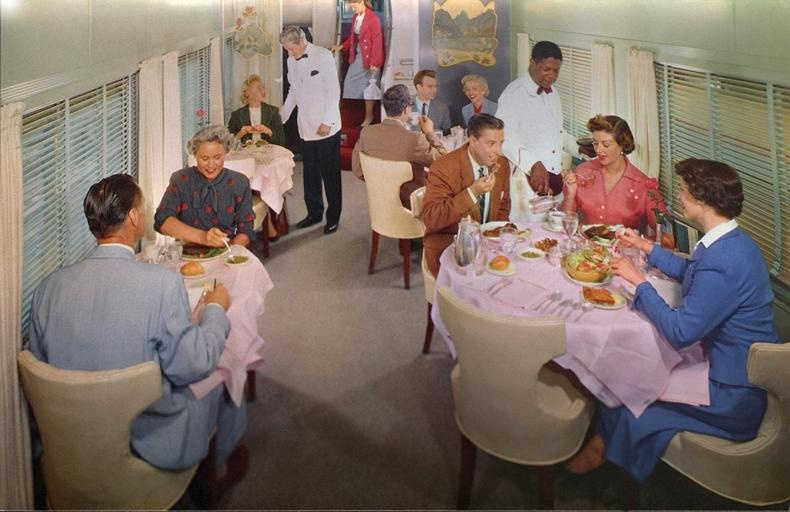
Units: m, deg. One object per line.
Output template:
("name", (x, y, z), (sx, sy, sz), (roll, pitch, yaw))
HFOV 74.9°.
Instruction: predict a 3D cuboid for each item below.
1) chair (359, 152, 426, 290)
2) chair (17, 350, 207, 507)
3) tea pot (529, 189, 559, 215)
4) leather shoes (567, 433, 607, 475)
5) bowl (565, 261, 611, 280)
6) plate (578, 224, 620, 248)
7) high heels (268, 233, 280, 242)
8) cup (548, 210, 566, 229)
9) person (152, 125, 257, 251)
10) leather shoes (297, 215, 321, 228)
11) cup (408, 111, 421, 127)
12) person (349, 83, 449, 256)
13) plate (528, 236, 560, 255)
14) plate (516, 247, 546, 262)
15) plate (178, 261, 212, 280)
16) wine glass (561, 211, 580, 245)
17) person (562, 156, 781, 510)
("chair", (0.085, -0.370, 4.340), (0.769, 1.070, 0.776), (-3, 23, -7))
("chair", (-1.129, 0.678, 2.086), (0.435, 0.576, 0.501), (9, 39, -6))
("tea pot", (1.041, -0.385, 3.626), (0.224, 0.107, 0.222), (-7, 11, 2))
("leather shoes", (0.932, 0.966, 2.540), (0.235, 0.168, 0.085), (-13, 12, -24))
("bowl", (0.929, 0.071, 2.538), (0.114, 0.052, 0.115), (-2, 15, 1))
("plate", (1.164, -0.123, 2.938), (0.149, 0.038, 0.152), (-4, 36, 3))
("high heels", (-1.085, -0.178, 4.697), (0.036, 0.073, 0.110), (28, 45, 35))
("cup", (0.954, -0.218, 3.070), (0.109, 0.077, 0.088), (1, 25, 17))
("person", (-1.144, -0.286, 3.107), (0.586, 0.903, 0.500), (2, 25, -11))
("leather shoes", (-0.834, -0.332, 5.009), (0.244, 0.101, 0.084), (-7, 15, -29))
("cup", (0.171, -1.221, 4.598), (0.098, 0.108, 0.099), (-3, 35, 2))
("person", (0.079, -0.725, 4.509), (0.777, 1.413, 0.830), (23, 35, 35))
("plate", (0.823, -0.061, 2.845), (0.098, 0.026, 0.100), (8, 31, 25))
("plate", (0.710, -0.007, 2.742), (0.079, 0.021, 0.080), (12, 31, 27))
("plate", (-1.012, 0.070, 2.578), (0.096, 0.034, 0.093), (7, 32, -2))
("wine glass", (0.956, -0.148, 2.857), (0.115, 0.180, 0.109), (3, 38, 24))
("person", (1.396, 0.382, 2.593), (0.770, 1.601, 0.971), (-12, 12, -41))
